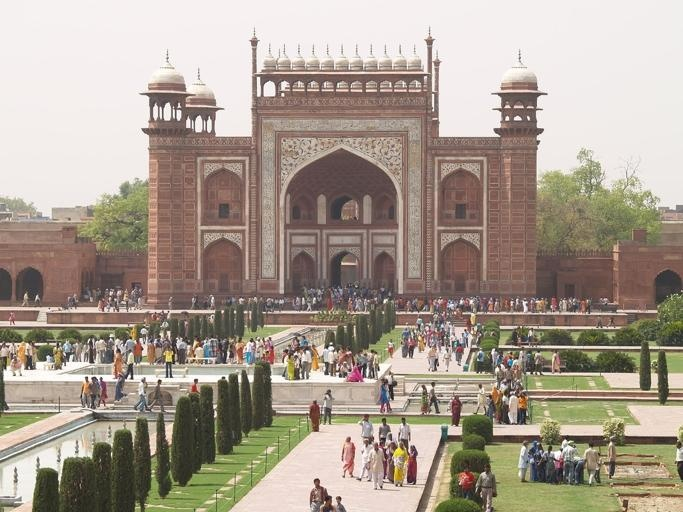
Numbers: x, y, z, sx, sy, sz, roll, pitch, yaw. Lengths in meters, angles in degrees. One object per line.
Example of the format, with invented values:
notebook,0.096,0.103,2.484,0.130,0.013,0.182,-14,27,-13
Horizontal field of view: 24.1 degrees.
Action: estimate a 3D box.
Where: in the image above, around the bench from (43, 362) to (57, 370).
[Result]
bench,-8.562,3.212,46.543,0.216,0.137,0.223,1,2,25
